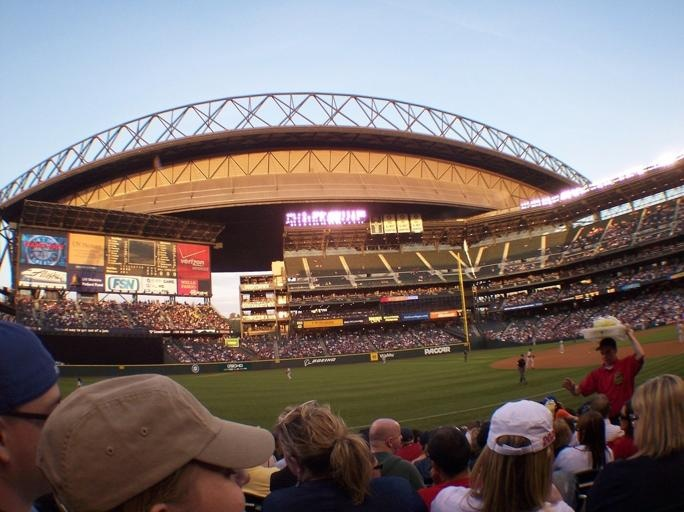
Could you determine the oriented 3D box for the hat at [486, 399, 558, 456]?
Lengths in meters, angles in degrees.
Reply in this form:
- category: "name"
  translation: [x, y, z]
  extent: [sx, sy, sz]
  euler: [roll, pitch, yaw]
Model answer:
- category: "hat"
  translation: [1.241, 1.195, 3.754]
  extent: [0.368, 0.188, 0.465]
  euler: [-3, 0, 25]
